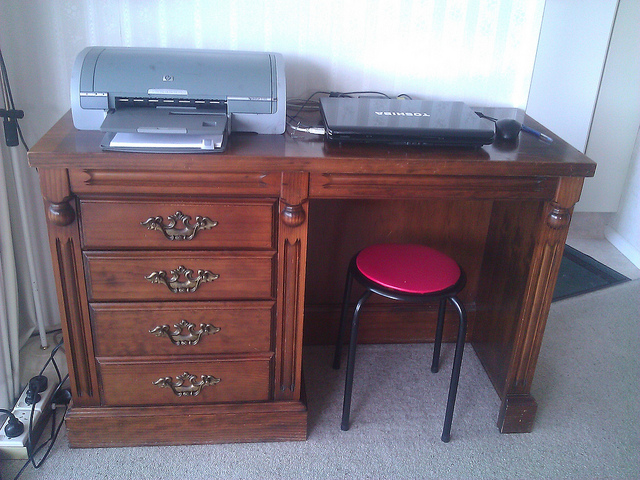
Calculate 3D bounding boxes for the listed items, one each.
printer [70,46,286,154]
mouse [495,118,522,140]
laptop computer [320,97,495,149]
[{"bbox_3d":[-0.442,-0.453,1.730,0.661,0.264,0.400,-3,26,-4],"label":"printer"},{"bbox_3d":[0.634,-0.376,1.854,0.076,0.040,0.077,7,35,7],"label":"mouse"},{"bbox_3d":[0.276,-0.398,1.859,0.545,0.123,0.303,-2,26,-2],"label":"laptop computer"}]
